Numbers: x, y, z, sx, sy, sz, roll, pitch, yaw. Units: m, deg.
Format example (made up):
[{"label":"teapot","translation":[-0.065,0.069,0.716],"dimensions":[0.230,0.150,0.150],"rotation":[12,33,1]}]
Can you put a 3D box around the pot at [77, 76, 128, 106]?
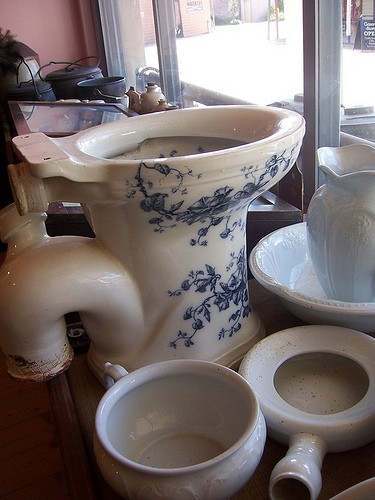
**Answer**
[{"label":"pot","translation":[-0.387,-0.789,1.998],"dimensions":[0.206,0.133,0.168],"rotation":[18,62,15]}]

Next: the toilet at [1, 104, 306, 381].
[{"label":"toilet","translation":[-0.008,-0.045,0.522],"dimensions":[0.399,0.289,0.238],"rotation":[-9,32,-19]}]

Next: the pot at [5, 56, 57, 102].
[{"label":"pot","translation":[-0.852,-0.911,2.176],"dimensions":[0.247,0.232,0.513],"rotation":[-12,23,-13]}]
